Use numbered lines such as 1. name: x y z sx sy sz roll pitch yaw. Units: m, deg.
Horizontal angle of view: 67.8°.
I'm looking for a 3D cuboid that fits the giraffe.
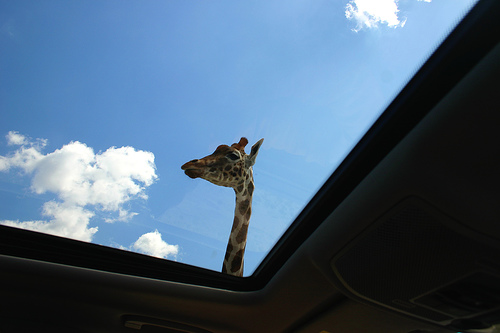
1. giraffe: -0.456 0.709 6.315 1.157 0.682 3.285 16 -54 5
